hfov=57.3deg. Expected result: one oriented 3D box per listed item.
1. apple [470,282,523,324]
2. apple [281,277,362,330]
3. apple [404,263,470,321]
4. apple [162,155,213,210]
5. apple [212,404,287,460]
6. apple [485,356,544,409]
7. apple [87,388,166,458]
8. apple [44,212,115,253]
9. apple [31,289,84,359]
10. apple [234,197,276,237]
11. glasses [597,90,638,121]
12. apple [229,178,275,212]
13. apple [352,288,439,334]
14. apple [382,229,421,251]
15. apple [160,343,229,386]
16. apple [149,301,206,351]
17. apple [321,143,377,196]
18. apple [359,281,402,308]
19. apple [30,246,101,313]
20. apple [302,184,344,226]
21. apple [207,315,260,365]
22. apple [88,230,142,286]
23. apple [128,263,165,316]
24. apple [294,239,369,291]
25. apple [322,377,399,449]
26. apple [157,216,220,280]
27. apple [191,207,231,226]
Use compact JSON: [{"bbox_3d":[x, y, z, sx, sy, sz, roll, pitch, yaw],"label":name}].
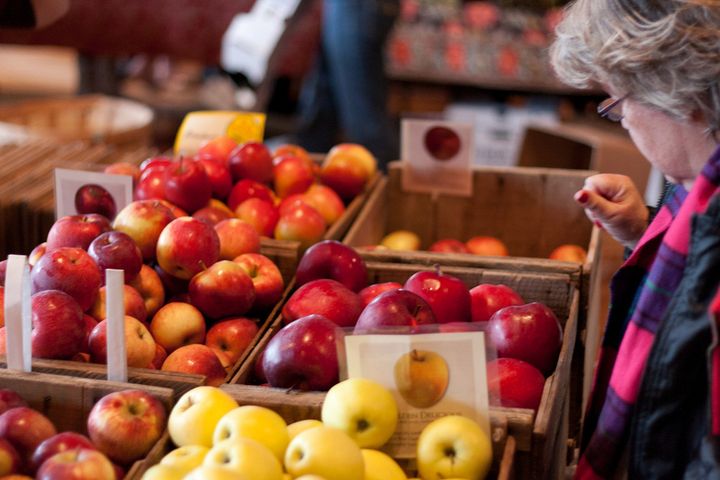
[{"bbox_3d":[0.435,0.211,2.122,0.119,0.136,0.128,-4,-8,-10],"label":"apple"},{"bbox_3d":[-0.104,0.180,1.951,0.185,0.166,0.154,-14,-21,-17],"label":"apple"},{"bbox_3d":[0.233,0.155,2.069,0.150,0.193,0.160,3,7,-5],"label":"apple"},{"bbox_3d":[-0.622,-0.199,2.365,0.174,0.183,0.123,10,-11,-20],"label":"apple"},{"bbox_3d":[-0.254,0.415,1.537,0.152,0.132,0.124,14,7,-40],"label":"apple"},{"bbox_3d":[0.411,0.367,1.760,0.143,0.141,0.147,1,-8,0],"label":"apple"},{"bbox_3d":[-0.577,0.441,1.647,0.153,0.161,0.159,11,36,-8],"label":"apple"},{"bbox_3d":[-0.887,0.010,2.076,0.156,0.156,0.161,-10,-7,30],"label":"apple"},{"bbox_3d":[-0.827,0.225,1.807,0.149,0.186,0.161,3,5,43],"label":"apple"},{"bbox_3d":[-0.384,-0.105,2.511,0.140,0.180,0.143,15,14,40],"label":"apple"},{"bbox_3d":[0.705,-0.360,1.826,0.074,0.026,0.072,-31,5,-20],"label":"glasses"},{"bbox_3d":[-0.427,-0.180,2.614,0.135,0.124,0.130,29,3,-31],"label":"apple"},{"bbox_3d":[0.103,0.230,1.819,0.156,0.140,0.140,-4,-12,18],"label":"apple"},{"bbox_3d":[0.189,-0.018,3.047,0.114,0.147,0.117,-4,4,-7],"label":"apple"},{"bbox_3d":[-0.467,0.348,1.899,0.154,0.142,0.130,6,13,-26],"label":"apple"},{"bbox_3d":[-0.560,0.261,2.005,0.144,0.146,0.148,-20,-38,-23],"label":"apple"},{"bbox_3d":[-0.064,-0.315,3.009,0.222,0.235,0.246,17,25,20],"label":"apple"},{"bbox_3d":[0.066,0.160,2.093,0.081,0.090,0.083,2,39,-33],"label":"apple"},{"bbox_3d":[-0.828,0.086,1.892,0.165,0.181,0.169,4,18,-7],"label":"apple"},{"bbox_3d":[-0.155,-0.143,2.777,0.138,0.171,0.143,-15,-6,5],"label":"apple"},{"bbox_3d":[-0.402,0.305,2.048,0.131,0.148,0.145,16,32,18],"label":"apple"},{"bbox_3d":[-0.712,0.048,1.960,0.139,0.154,0.145,0,8,15],"label":"apple"},{"bbox_3d":[-0.657,0.157,2.060,0.122,0.138,0.130,-13,-45,-5],"label":"apple"},{"bbox_3d":[-0.083,0.082,2.221,0.167,0.182,0.168,-2,17,12],"label":"apple"},{"bbox_3d":[-0.004,0.414,1.659,0.162,0.168,0.166,-2,17,-15],"label":"apple"},{"bbox_3d":[-0.553,0.025,2.123,0.184,0.203,0.199,-8,-13,31],"label":"apple"},{"bbox_3d":[-0.539,-0.075,2.382,0.098,0.086,0.085,-26,-15,15],"label":"apple"}]
